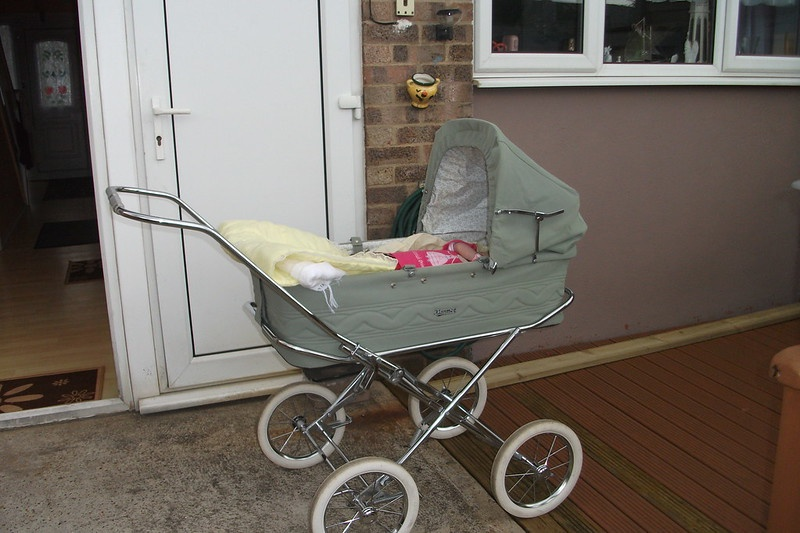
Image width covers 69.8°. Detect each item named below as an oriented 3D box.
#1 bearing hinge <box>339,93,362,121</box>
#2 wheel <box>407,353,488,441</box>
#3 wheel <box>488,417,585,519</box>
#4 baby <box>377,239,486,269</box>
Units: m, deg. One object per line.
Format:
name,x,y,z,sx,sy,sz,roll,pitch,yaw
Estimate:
bearing hinge,-0.258,-0.857,3.045,0.121,0.116,0.028,-2,10,-10
wheel,0.231,0.636,2.738,0.388,0.389,0.079,-20,15,-7
wheel,0.615,0.899,2.504,0.443,0.090,0.429,-33,29,22
baby,0.140,-0.050,2.473,0.294,0.092,0.176,-2,18,-24
